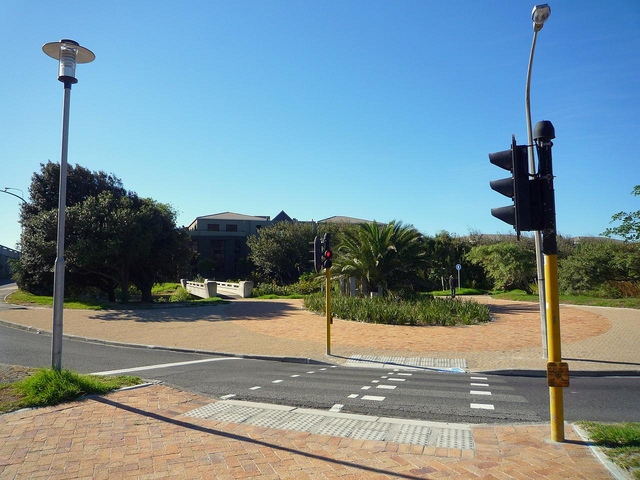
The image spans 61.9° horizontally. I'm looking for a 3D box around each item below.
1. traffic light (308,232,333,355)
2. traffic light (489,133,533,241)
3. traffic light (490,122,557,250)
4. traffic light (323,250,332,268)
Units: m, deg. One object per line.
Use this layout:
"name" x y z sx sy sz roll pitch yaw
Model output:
"traffic light" 0.060 1.593 16.286 0.598 3.623 1.269 -1 0 -11
"traffic light" 3.301 -0.877 9.200 0.646 1.897 0.366 -1 0 19
"traffic light" 3.533 -0.857 9.302 1.025 2.341 0.605 -3 8 28
"traffic light" 0.215 0.560 16.272 0.180 0.523 0.443 -1 -1 -12
